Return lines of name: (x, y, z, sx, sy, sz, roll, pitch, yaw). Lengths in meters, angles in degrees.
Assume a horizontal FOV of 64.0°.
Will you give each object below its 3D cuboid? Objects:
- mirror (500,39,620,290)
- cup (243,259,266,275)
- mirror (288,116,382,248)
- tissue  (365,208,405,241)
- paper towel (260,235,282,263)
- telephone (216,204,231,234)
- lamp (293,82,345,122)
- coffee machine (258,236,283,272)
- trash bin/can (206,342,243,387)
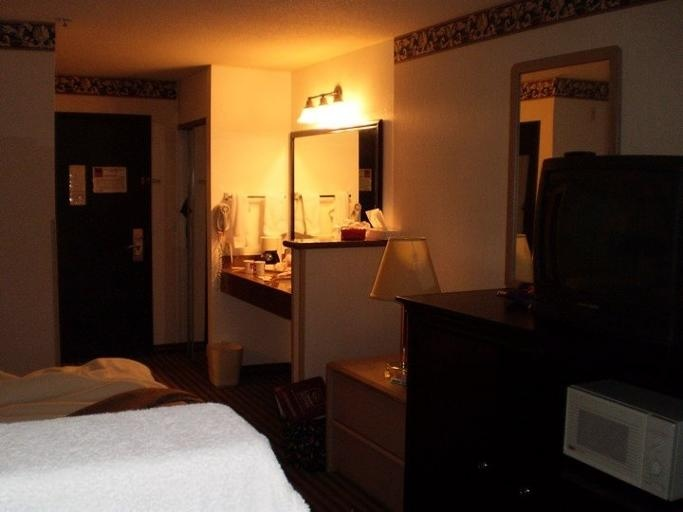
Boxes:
mirror: (1.141, -0.421, 2.873, 0.090, 1.237, 0.629, -7, 9, -39)
cup: (-0.730, 0.091, 4.717, 0.125, 0.110, 0.263, -7, 10, -36)
mirror: (-0.022, -0.600, 4.394, 1.020, 1.114, 0.052, 6, 8, 43)
tissue : (0.311, -0.210, 3.981, 0.216, 0.198, 0.265, 3, 2, 15)
paper towel: (-0.624, -0.071, 4.968, 0.227, 0.244, 0.189, -2, 3, -40)
telephone: (-1.062, -0.335, 4.871, 0.053, 0.232, 0.150, 2, 4, -38)
lamp: (-0.182, -1.244, 4.476, 0.296, 0.303, 0.461, -5, 9, -27)
coffee machine: (-0.602, -0.033, 4.900, 0.305, 0.346, 0.196, 2, -3, -39)
trash bin/can: (-0.974, 0.916, 4.682, 0.311, 0.397, 0.312, 2, 4, -9)
